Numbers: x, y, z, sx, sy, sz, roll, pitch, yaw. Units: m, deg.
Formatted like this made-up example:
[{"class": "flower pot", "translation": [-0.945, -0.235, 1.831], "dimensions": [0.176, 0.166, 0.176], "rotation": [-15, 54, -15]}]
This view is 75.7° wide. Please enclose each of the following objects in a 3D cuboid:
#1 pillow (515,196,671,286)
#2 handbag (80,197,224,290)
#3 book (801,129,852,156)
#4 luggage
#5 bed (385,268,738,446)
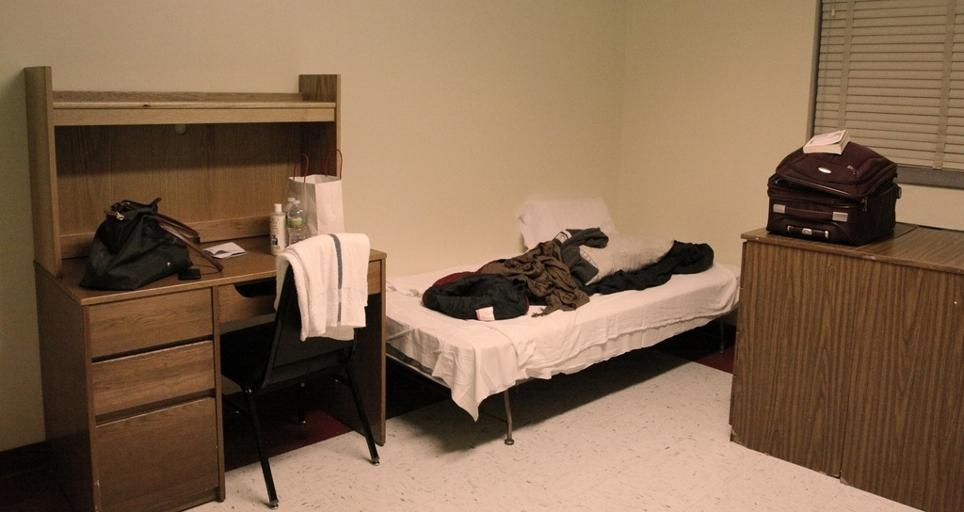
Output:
[{"class": "pillow", "translation": [0.902, -0.180, 5.111], "dimensions": [0.824, 0.326, 1.044], "rotation": [-15, 23, -40]}, {"class": "handbag", "translation": [-1.954, -0.065, 3.446], "dimensions": [0.566, 0.424, 0.417], "rotation": [-13, 21, -29]}, {"class": "book", "translation": [2.172, -0.720, 3.883], "dimensions": [0.244, 0.077, 0.231], "rotation": [6, 25, 38]}, {"class": "luggage", "translation": [2.233, -0.430, 3.967], "dimensions": [0.687, 0.436, 0.744], "rotation": [12, 20, 39]}, {"class": "bed", "translation": [0.690, 0.430, 4.766], "dimensions": [2.100, 0.387, 1.277], "rotation": [-10, 24, -39]}]
